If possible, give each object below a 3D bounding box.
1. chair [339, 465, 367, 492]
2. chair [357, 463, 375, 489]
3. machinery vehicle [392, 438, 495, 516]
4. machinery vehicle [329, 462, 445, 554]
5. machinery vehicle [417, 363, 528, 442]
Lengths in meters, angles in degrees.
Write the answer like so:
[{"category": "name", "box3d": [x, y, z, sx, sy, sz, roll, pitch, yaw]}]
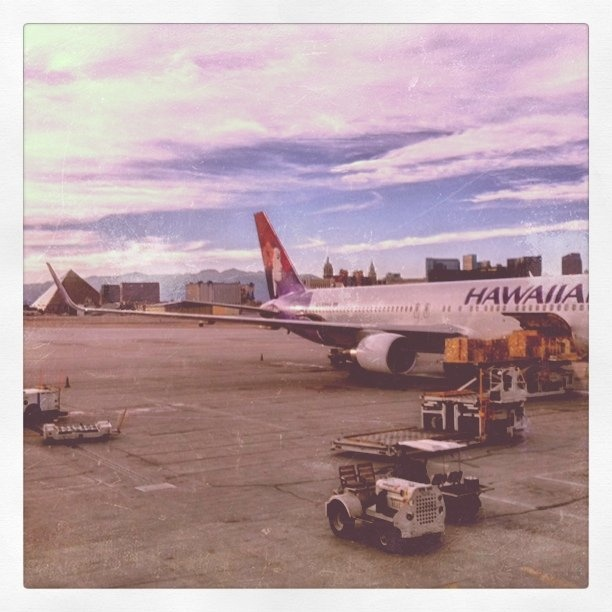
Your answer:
[{"category": "chair", "box3d": [0.730, 2.800, 11.827, 0.411, 0.651, 0.470, 0, -13, -2]}, {"category": "chair", "box3d": [1.054, 2.757, 11.806, 0.303, 0.511, 0.350, 1, -10, -13]}, {"category": "machinery vehicle", "box3d": [2.177, 2.975, 12.353, 0.795, 1.079, 1.574, 0, -6, -29]}, {"category": "machinery vehicle", "box3d": [1.136, 3.098, 11.231, 1.064, 0.990, 1.559, 1, -4, -40]}, {"category": "machinery vehicle", "box3d": [3.645, 2.206, 16.443, 1.567, 1.774, 2.355, -1, -1, 42]}]
